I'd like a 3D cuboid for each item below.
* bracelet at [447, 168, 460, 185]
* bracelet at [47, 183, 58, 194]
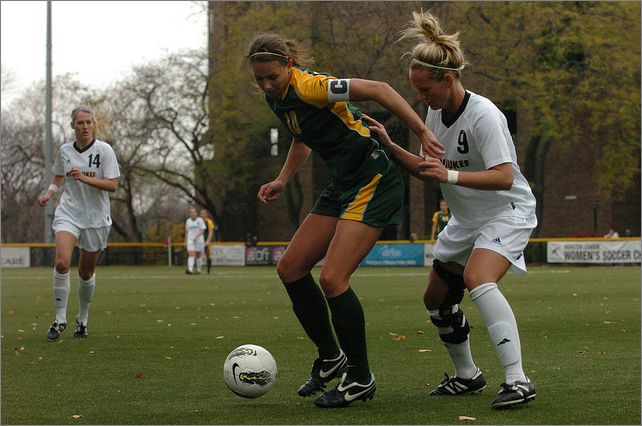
[{"bbox_3d":[2.700,-0.757,19.993,0.232,0.272,0.089,0,7,4],"label":"bracelet"},{"bbox_3d":[-6.449,-0.623,23.320,0.226,0.209,0.160,5,-38,8],"label":"bracelet"}]
